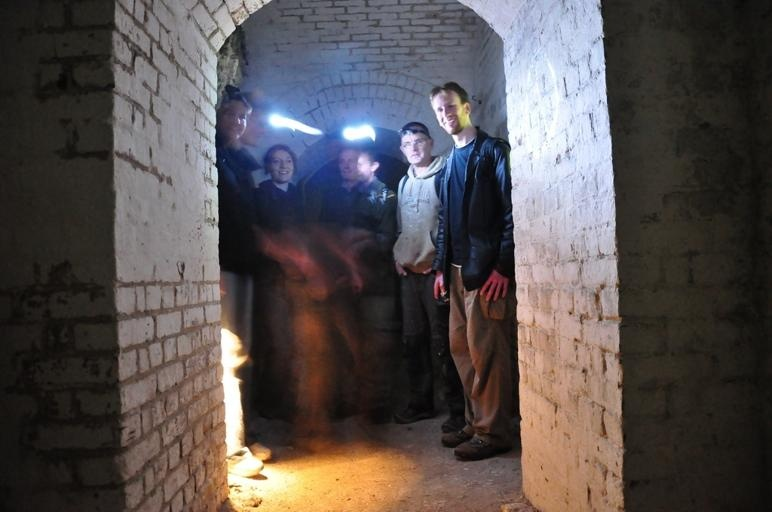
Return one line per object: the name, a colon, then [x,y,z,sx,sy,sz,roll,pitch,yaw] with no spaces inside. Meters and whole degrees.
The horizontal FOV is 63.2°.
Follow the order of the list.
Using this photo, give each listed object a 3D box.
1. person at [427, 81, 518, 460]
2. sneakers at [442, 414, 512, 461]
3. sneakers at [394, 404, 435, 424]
person: [0.585,0.071,4.174,0.594,2.520,0.462,-2,2,20]
sneakers: [0.612,1.245,4.186,0.344,0.155,0.200,6,-11,-13]
sneakers: [0.240,1.306,5.156,0.367,0.159,0.131,3,-13,-14]
